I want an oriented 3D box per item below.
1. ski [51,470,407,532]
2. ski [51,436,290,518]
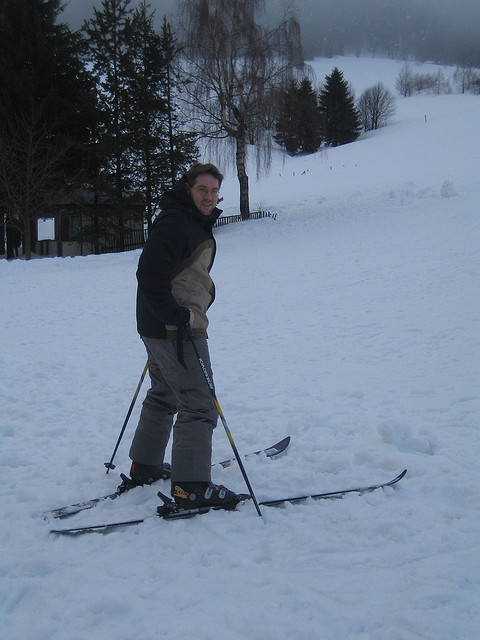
[{"bbox_3d":[-0.049,0.997,3.461,1.757,0.145,0.178,-3,-11,-13],"label":"ski"},{"bbox_3d":[-0.394,0.918,3.650,1.215,0.058,0.134,-16,48,-17],"label":"ski"}]
